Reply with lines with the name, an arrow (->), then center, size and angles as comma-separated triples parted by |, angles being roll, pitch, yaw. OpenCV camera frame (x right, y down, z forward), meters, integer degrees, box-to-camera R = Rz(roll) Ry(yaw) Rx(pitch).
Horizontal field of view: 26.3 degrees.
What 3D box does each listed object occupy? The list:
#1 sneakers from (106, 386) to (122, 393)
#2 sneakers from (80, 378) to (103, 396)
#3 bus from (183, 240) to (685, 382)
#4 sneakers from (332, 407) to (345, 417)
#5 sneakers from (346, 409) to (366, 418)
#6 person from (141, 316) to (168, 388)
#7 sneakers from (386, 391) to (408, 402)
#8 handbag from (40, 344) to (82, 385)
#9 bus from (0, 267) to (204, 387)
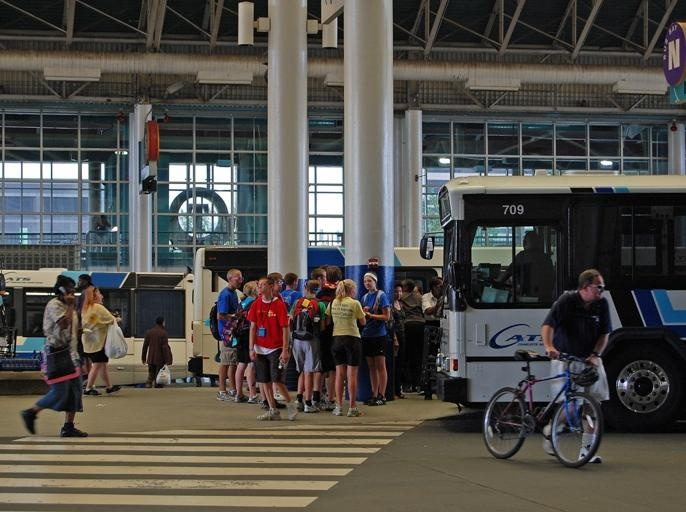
sneakers -> -5.534, 3.253, 35.655 | 0.146, 0.179, 0.418 | 5, 9, 40
sneakers -> -5.972, 3.254, 35.459 | 0.647, 0.251, 0.222 | 4, -2, -45
bus -> -0.516, 1.977, 40.458 | 7.533, 2.162, 3.418 | -8, -36, 22
sneakers -> -0.076, 3.462, 32.620 | 0.216, 0.261, 0.604 | 1, 0, -3
sneakers -> 0.308, 3.453, 32.463 | 0.399, 0.174, 0.132 | -1, 1, -30
person -> -4.920, 2.620, 38.978 | 0.738, 1.960, 0.797 | -3, 11, -8
sneakers -> 1.308, 3.335, 34.818 | 0.590, 0.252, 0.176 | -4, 5, -32
handbag -> -5.894, 2.201, 30.374 | 0.839, 0.791, 0.477 | -14, 21, -27
bus -> -6.307, 1.849, 43.148 | 7.113, 3.250, 2.538 | 0, -2, -7
